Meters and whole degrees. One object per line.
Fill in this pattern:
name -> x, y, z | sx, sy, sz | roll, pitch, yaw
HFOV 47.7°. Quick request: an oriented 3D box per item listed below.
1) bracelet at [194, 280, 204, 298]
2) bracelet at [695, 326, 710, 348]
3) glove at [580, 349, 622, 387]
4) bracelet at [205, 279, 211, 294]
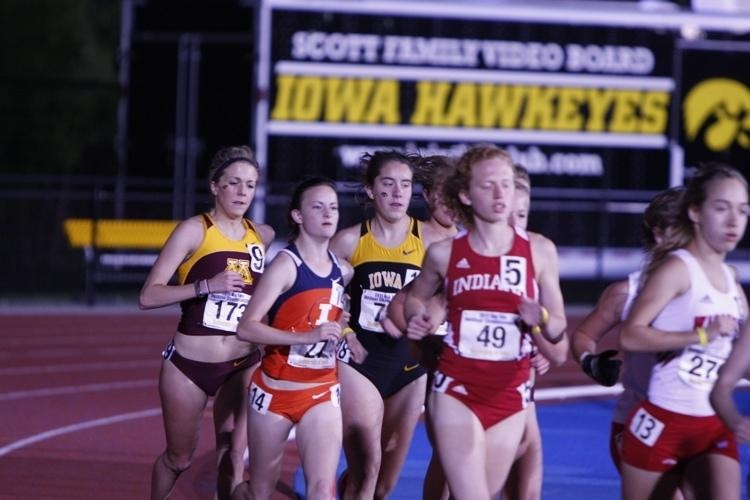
bracelet -> -1.691, 0.370, 8.144 | 0.121, 0.124, 0.123 | 5, -21, -4
bracelet -> 2.664, 0.708, 6.936 | 0.034, 0.124, 0.129 | -12, 42, 12
glove -> 1.923, 0.976, 7.338 | 0.217, 0.190, 0.445 | 27, 9, -21
bracelet -> -1.600, 0.353, 8.112 | 0.072, 0.100, 0.037 | -4, -12, 19
